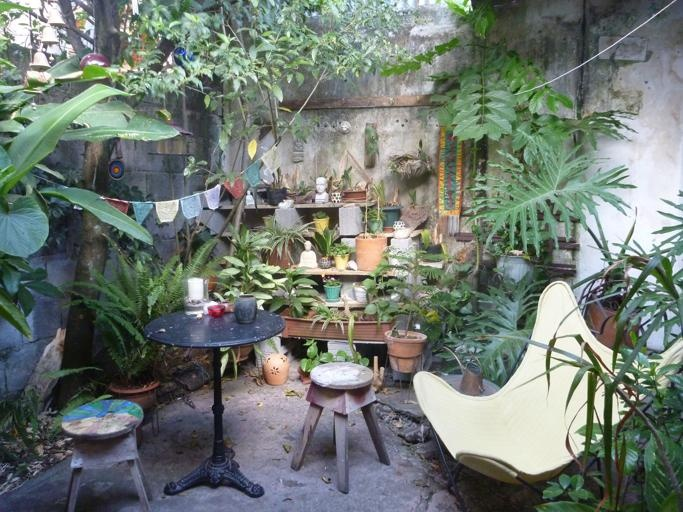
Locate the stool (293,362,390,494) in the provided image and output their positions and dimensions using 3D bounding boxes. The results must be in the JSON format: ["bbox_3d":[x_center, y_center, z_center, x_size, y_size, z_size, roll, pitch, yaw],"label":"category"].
[{"bbox_3d":[-0.001,1.115,3.529,0.691,0.637,0.680,0,6,-15],"label":"stool"}]

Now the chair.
[{"bbox_3d":[1.141,0.947,3.096,1.282,0.701,1.084,-24,19,0],"label":"chair"}]

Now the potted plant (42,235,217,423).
[{"bbox_3d":[-1.659,0.532,4.427,1.150,1.515,1.302,1,-3,12],"label":"potted plant"}]

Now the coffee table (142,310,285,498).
[{"bbox_3d":[-0.826,0.974,3.417,1.042,1.182,1.110,-3,0,-20],"label":"coffee table"}]

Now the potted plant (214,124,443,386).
[{"bbox_3d":[-0.055,0.034,4.790,2.304,2.271,0.863,1,-5,0],"label":"potted plant"}]

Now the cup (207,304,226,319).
[{"bbox_3d":[-0.870,0.369,3.602,0.090,0.062,0.091,-1,13,0],"label":"cup"}]

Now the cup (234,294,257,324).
[{"bbox_3d":[-0.631,0.351,3.522,0.159,0.171,0.166,0,-1,0],"label":"cup"}]
